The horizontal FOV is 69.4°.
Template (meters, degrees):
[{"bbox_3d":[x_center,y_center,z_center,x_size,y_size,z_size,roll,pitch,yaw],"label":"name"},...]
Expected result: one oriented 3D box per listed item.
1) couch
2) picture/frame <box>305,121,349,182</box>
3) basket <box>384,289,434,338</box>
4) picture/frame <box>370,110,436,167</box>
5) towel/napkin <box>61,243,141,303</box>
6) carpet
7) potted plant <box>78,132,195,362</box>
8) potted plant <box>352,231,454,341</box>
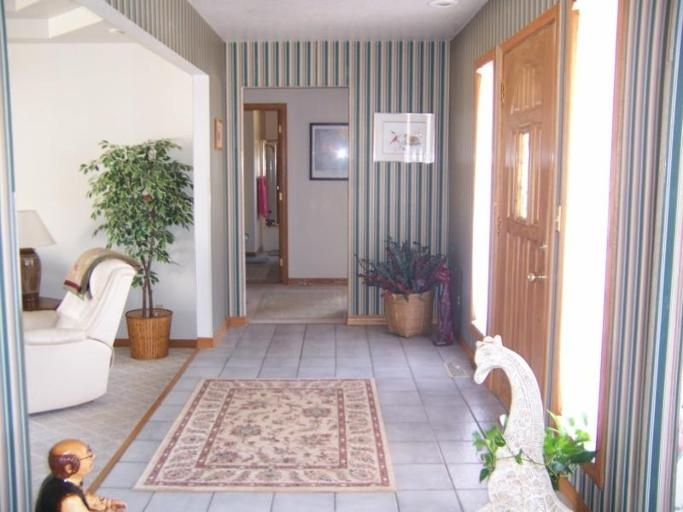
[{"bbox_3d":[-2.261,0.554,3.871,1.069,1.062,1.022,-7,10,-37],"label":"couch"},{"bbox_3d":[-0.162,-1.582,7.473,0.673,0.832,0.031,-2,9,-16],"label":"picture/frame"},{"bbox_3d":[0.721,0.594,5.318,0.493,0.434,0.423,-1,4,-23],"label":"basket"},{"bbox_3d":[0.687,-1.343,5.497,0.563,0.512,0.046,1,15,5],"label":"picture/frame"},{"bbox_3d":[-1.946,0.140,4.018,0.444,0.471,0.170,10,-24,25],"label":"towel/napkin"},{"bbox_3d":[-0.437,1.169,3.410,1.477,0.022,1.399,0,10,0],"label":"carpet"},{"bbox_3d":[-1.822,0.039,4.587,0.821,1.814,0.711,0,-5,-44],"label":"potted plant"},{"bbox_3d":[0.782,0.258,5.402,0.972,1.039,0.992,-4,5,-38],"label":"potted plant"}]
